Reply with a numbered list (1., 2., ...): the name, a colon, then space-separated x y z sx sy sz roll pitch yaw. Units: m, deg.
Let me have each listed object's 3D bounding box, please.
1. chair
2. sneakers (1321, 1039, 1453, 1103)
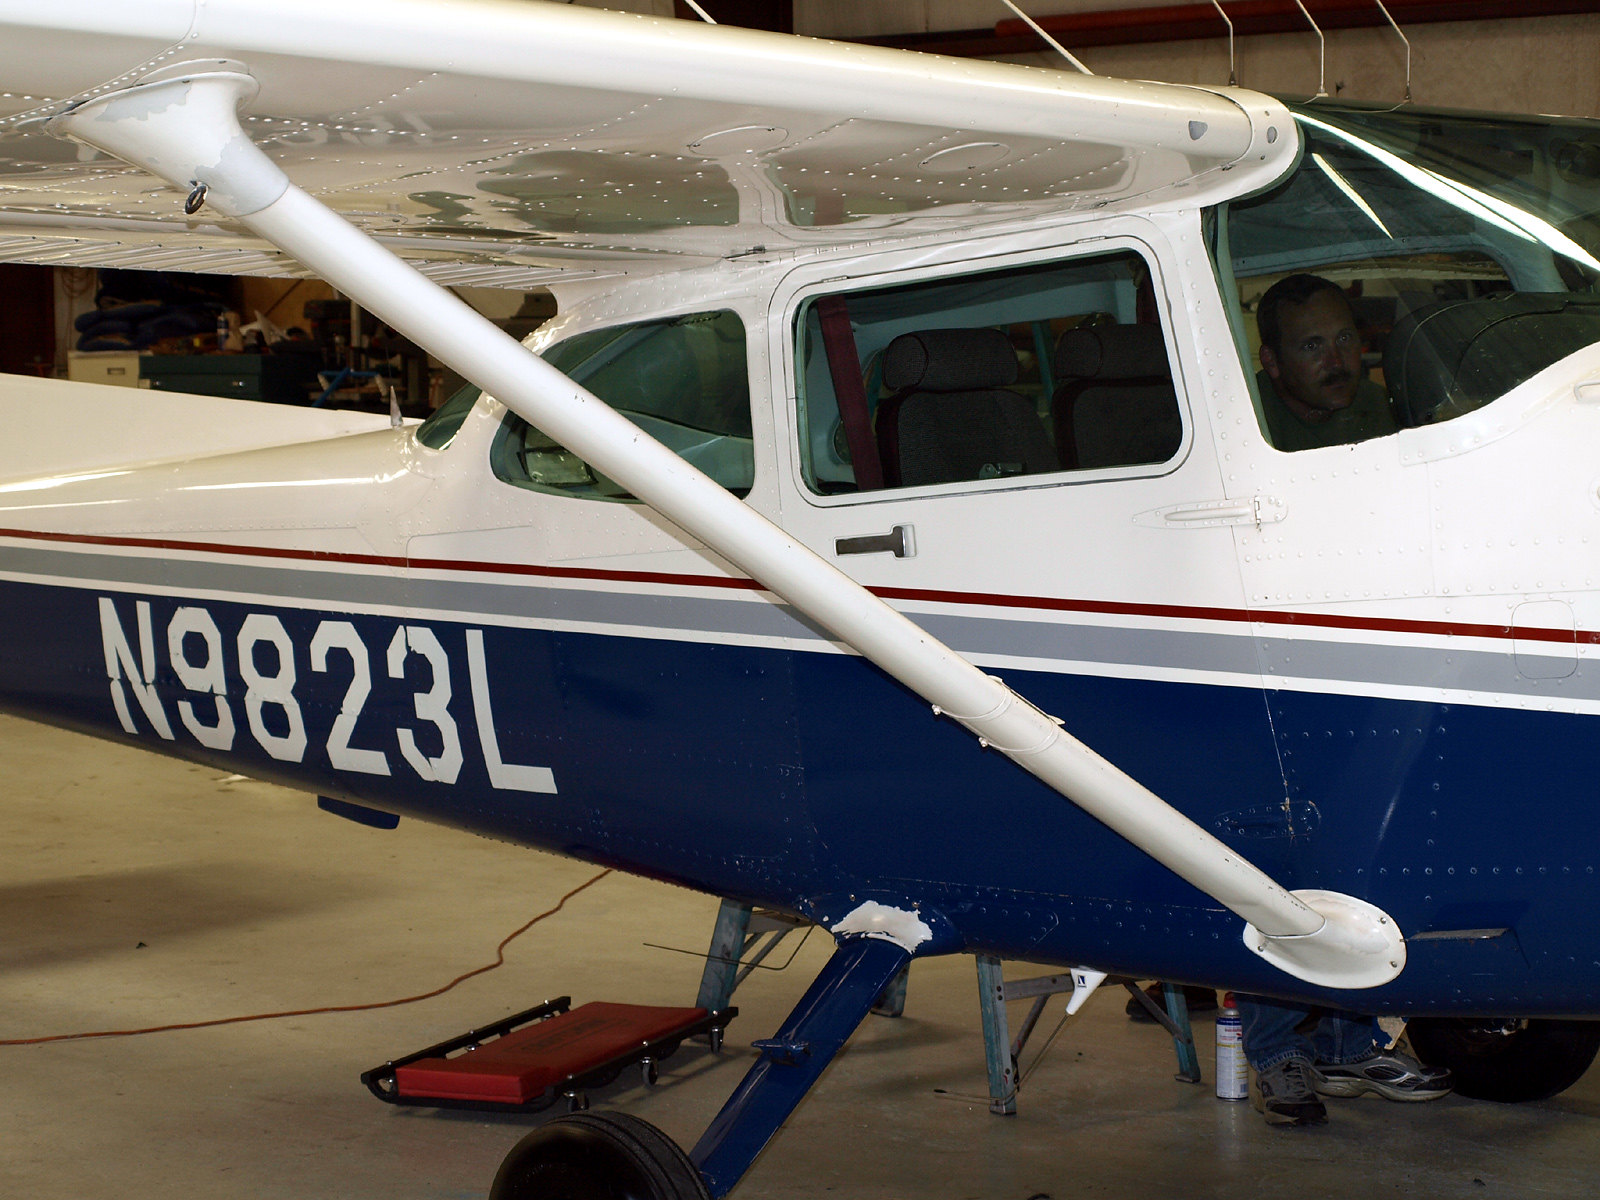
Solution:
1. chair: 0.473 -0.414 3.402 0.656 0.417 0.364 5 5 -2
2. sneakers: 1.732 1.436 4.756 0.555 0.168 0.152 -1 -1 11
